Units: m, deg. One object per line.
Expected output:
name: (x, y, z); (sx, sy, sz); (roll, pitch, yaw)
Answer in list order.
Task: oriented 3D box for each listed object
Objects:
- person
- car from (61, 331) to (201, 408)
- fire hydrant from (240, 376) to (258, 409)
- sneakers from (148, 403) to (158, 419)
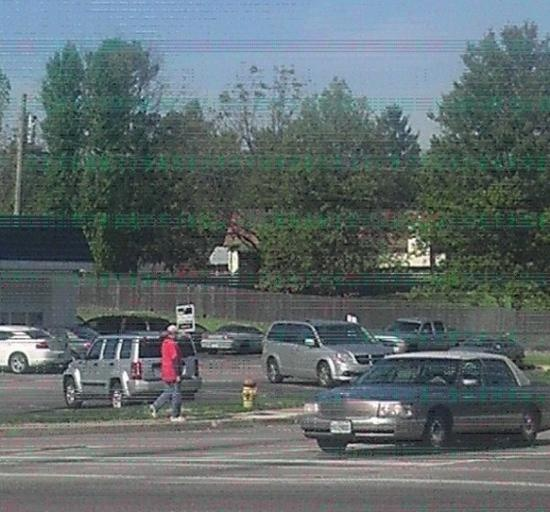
person: (-1.675, 1.815, 28.474); (0.496, 1.437, 1.672); (-3, 7, -3)
car: (-2.214, 1.876, 29.885); (1.176, 1.023, 1.982); (2, 0, -44)
fire hydrant: (-0.422, 2.157, 29.142); (0.350, 0.584, 0.362); (1, -1, -4)
sneakers: (-1.853, 2.344, 28.310); (0.104, 0.246, 0.087); (-19, -11, -11)
